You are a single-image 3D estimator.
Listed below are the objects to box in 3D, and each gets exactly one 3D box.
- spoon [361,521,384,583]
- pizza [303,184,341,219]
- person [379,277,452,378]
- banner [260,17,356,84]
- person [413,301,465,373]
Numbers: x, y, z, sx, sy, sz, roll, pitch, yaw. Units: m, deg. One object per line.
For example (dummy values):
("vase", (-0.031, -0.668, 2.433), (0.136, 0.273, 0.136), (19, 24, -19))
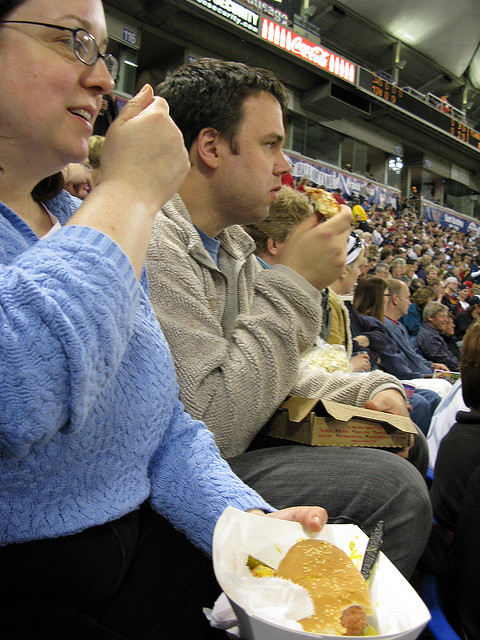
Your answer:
("spoon", (0.163, 0.286, 0.647), (0.017, 0.100, 0.006), (6, 26, 3))
("pizza", (0.210, -0.302, 1.338), (0.071, 0.025, 0.111), (-1, 29, -22))
("person", (1.527, 0.123, 4.729), (0.652, 0.912, 0.638), (1, 13, 23))
("banner", (2.093, -7.566, 14.979), (4.325, 0.620, 0.048), (0, 11, -42))
("person", (2.239, 0.170, 5.661), (0.698, 0.702, 0.556), (-2, 13, 13))
